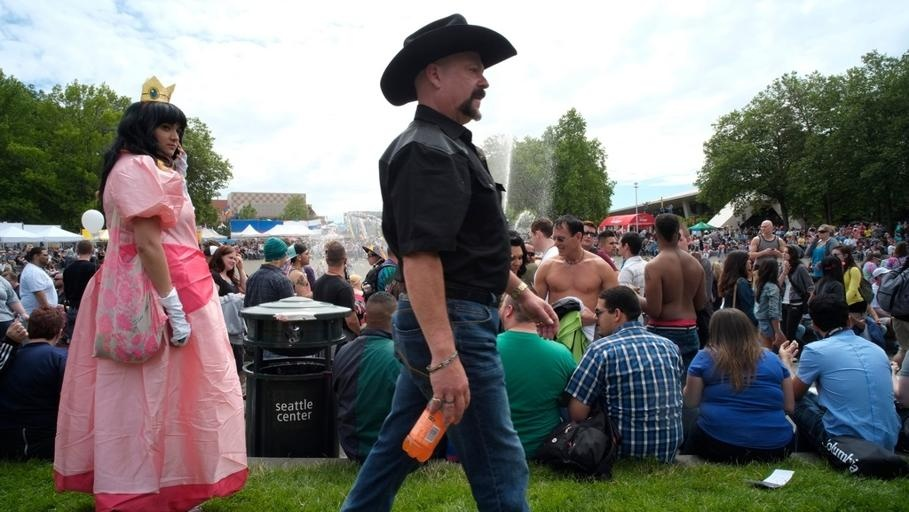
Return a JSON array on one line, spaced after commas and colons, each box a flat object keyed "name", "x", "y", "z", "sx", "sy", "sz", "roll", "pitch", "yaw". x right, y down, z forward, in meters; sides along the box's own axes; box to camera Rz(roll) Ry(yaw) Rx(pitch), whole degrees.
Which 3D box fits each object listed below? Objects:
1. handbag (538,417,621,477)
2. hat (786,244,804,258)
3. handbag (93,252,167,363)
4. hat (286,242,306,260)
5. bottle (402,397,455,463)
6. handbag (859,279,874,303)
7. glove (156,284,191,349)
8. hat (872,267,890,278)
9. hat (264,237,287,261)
[{"name": "handbag", "x": 1.478, "y": 2.242, "z": 7.359, "sx": 0.803, "sy": 0.546, "sz": 0.799, "roll": 3, "pitch": -16, "yaw": 5}, {"name": "hat", "x": 6.896, "y": -0.112, "z": 12.789, "sx": 0.375, "sy": 0.264, "sz": 0.276, "roll": 10, "pitch": 1, "yaw": -39}, {"name": "handbag", "x": -3.192, "y": 0.524, "z": 6.206, "sx": 0.670, "sy": 1.033, "sz": 0.327, "roll": 1, "pitch": 13, "yaw": 6}, {"name": "hat", "x": -3.202, "y": -0.127, "z": 12.515, "sx": 0.542, "sy": 0.269, "sz": 0.343, "roll": 8, "pitch": 18, "yaw": 18}, {"name": "bottle", "x": -0.247, "y": 1.483, "z": 5.365, "sx": 0.387, "sy": 0.597, "sz": 0.195, "roll": -1, "pitch": 13, "yaw": -5}, {"name": "handbag", "x": 8.478, "y": 0.701, "z": 12.964, "sx": 0.220, "sy": 0.535, "sz": 1.006, "roll": 9, "pitch": 15, "yaw": 34}, {"name": "glove", "x": -2.761, "y": 0.605, "z": 6.245, "sx": 0.195, "sy": 0.502, "sz": 0.385, "roll": -22, "pitch": 14, "yaw": -30}, {"name": "hat", "x": 9.378, "y": 0.352, "z": 13.844, "sx": 0.345, "sy": 0.168, "sz": 0.249, "roll": 2, "pitch": 0, "yaw": 37}, {"name": "hat", "x": -3.002, "y": -0.123, "z": 10.681, "sx": 0.421, "sy": 0.355, "sz": 0.369, "roll": -11, "pitch": 7, "yaw": -20}]
